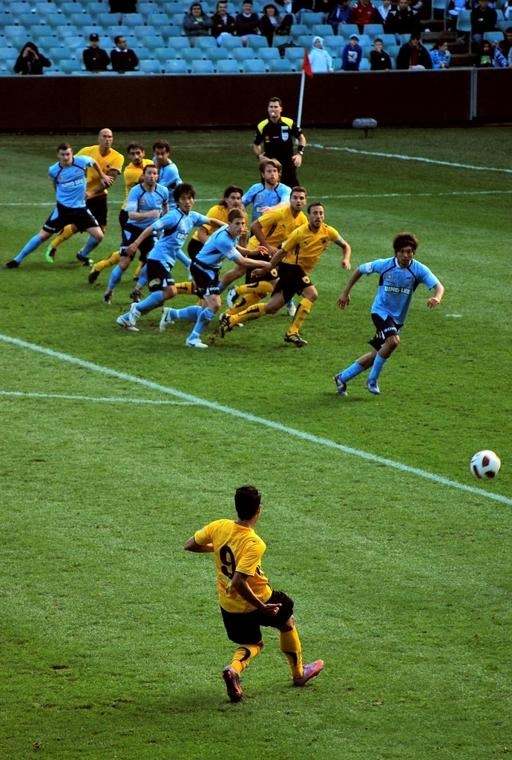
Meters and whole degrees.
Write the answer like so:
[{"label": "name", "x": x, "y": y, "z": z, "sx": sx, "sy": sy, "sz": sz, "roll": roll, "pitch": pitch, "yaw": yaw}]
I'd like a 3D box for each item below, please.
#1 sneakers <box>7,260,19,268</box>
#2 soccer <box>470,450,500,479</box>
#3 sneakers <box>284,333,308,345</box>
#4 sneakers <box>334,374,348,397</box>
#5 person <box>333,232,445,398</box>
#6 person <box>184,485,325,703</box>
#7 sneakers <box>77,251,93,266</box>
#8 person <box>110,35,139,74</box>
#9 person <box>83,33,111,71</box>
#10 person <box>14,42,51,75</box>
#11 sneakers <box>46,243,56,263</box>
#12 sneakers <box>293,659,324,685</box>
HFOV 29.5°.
[{"label": "sneakers", "x": -3.594, "y": -1.680, "z": 14.210, "sx": 0.174, "sy": 0.127, "sz": 0.348, "roll": 3, "pitch": 7, "yaw": -12}, {"label": "soccer", "x": 1.638, "y": 0.610, "z": 6.923, "sx": 0.156, "sy": 0.164, "sz": 0.179, "roll": 53, "pitch": 12, "yaw": 22}, {"label": "sneakers", "x": 0.434, "y": -0.455, "z": 10.926, "sx": 0.302, "sy": 0.125, "sz": 0.099, "roll": 8, "pitch": 22, "yaw": 24}, {"label": "sneakers", "x": 0.800, "y": 0.049, "z": 9.209, "sx": 0.131, "sy": 0.221, "sz": 0.083, "roll": -11, "pitch": 30, "yaw": 6}, {"label": "person", "x": 1.231, "y": -0.594, "z": 9.047, "sx": 1.061, "sy": 1.562, "sz": 0.597, "roll": 9, "pitch": 10, "yaw": 24}, {"label": "person", "x": 0.008, "y": 0.944, "z": 4.515, "sx": 0.575, "sy": 1.008, "sz": 0.422, "roll": -2, "pitch": 12, "yaw": -38}, {"label": "sneakers", "x": -2.600, "y": -1.824, "z": 14.631, "sx": 0.134, "sy": 0.155, "sz": 0.350, "roll": 46, "pitch": 3, "yaw": -21}, {"label": "person", "x": -4.021, "y": -9.661, "z": 29.127, "sx": 0.705, "sy": 1.147, "sz": 0.982, "roll": 8, "pitch": 9, "yaw": 15}, {"label": "person", "x": -4.777, "y": -9.632, "z": 28.893, "sx": 0.781, "sy": 1.032, "sz": 1.137, "roll": 4, "pitch": 8, "yaw": -7}, {"label": "person", "x": -6.538, "y": -9.250, "z": 28.147, "sx": 0.940, "sy": 0.954, "sz": 0.583, "roll": 4, "pitch": 9, "yaw": -10}, {"label": "sneakers", "x": -3.138, "y": -1.888, "z": 14.748, "sx": 0.117, "sy": 0.258, "sz": 0.336, "roll": 3, "pitch": 8, "yaw": -15}, {"label": "sneakers", "x": 0.246, "y": 1.379, "z": 4.578, "sx": 0.075, "sy": 0.153, "sz": 0.054, "roll": 50, "pitch": 5, "yaw": -37}]
